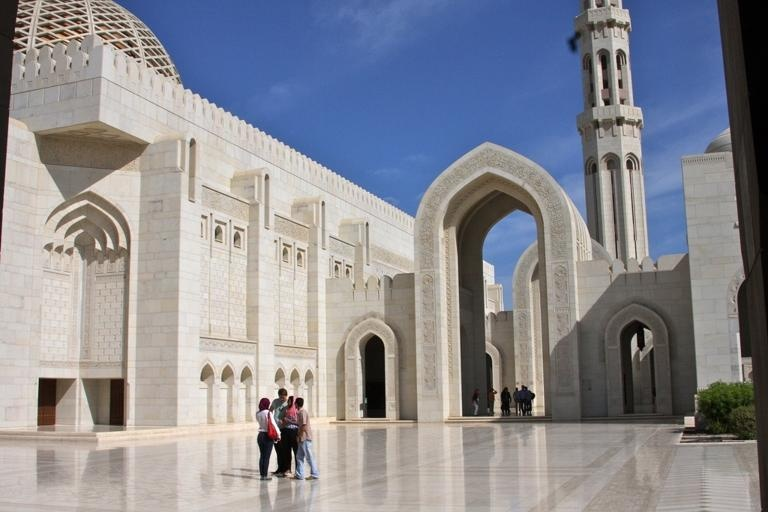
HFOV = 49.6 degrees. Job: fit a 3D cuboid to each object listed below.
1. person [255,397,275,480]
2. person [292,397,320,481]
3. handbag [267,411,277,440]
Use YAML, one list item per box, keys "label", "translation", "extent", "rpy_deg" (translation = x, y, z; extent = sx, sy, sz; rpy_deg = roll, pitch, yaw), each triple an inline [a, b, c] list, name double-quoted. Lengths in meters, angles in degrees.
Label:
- label: "person"
  translation: [-2.225, 3.434, 15.733]
  extent: [0.297, 1.516, 0.888]
  rpy_deg: [0, -16, -7]
- label: "person"
  translation: [-1.452, 3.435, 15.666]
  extent: [0.465, 1.502, 0.812]
  rpy_deg: [0, -16, -6]
- label: "handbag"
  translation: [-2.080, 3.192, 15.552]
  extent: [0.198, 0.481, 0.093]
  rpy_deg: [0, -16, -8]
